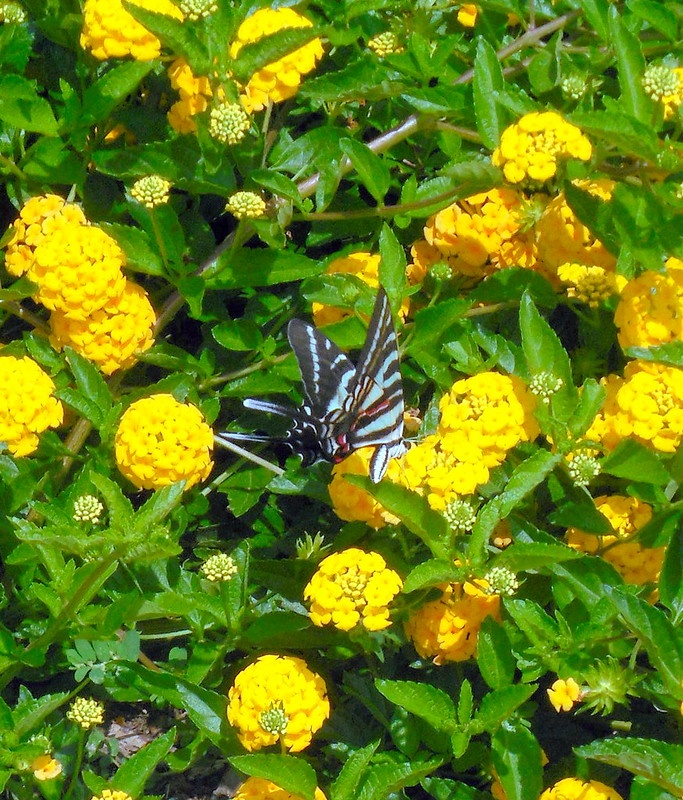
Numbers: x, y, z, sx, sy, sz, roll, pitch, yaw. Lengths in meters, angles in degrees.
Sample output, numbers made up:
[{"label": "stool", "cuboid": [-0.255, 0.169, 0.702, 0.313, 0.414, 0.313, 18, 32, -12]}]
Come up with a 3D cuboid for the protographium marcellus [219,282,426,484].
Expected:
[{"label": "protographium marcellus", "cuboid": [-0.044, 0.021, 2.459, 0.363, 0.611, 0.458, -12, 70, -11]}]
